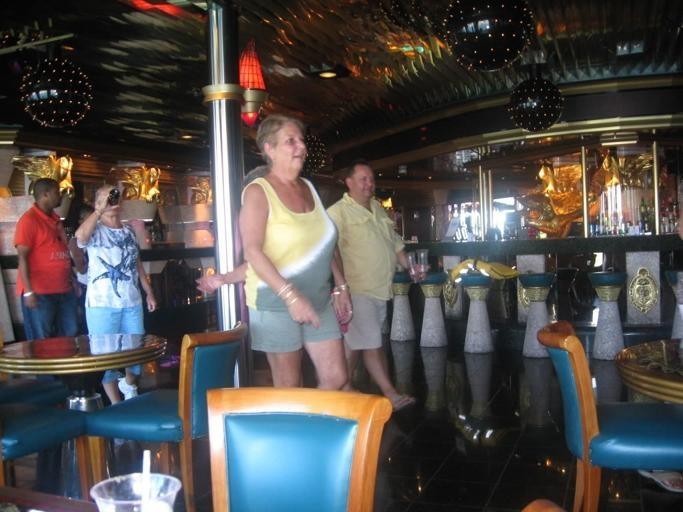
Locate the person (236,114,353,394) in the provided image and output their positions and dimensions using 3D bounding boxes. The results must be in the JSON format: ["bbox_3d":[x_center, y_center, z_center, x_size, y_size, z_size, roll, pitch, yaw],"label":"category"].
[{"bbox_3d":[-0.179,0.032,2.762,0.623,1.432,0.536,-4,5,-36],"label":"person"}]

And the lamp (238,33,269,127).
[{"bbox_3d":[-0.788,-1.575,5.015,0.211,0.725,0.461,-2,4,-10],"label":"lamp"}]

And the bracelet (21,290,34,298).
[{"bbox_3d":[-2.406,0.293,4.327,0.082,0.038,0.110,1,1,-4],"label":"bracelet"}]

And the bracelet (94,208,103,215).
[{"bbox_3d":[-1.637,-0.294,3.806,0.047,0.036,0.046,-3,5,-34],"label":"bracelet"}]

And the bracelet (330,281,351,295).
[{"bbox_3d":[-0.010,0.177,3.135,0.074,0.039,0.058,-12,0,-30],"label":"bracelet"}]

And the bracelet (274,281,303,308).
[{"bbox_3d":[-0.246,0.174,2.518,0.096,0.091,0.096,-1,-4,2],"label":"bracelet"}]
